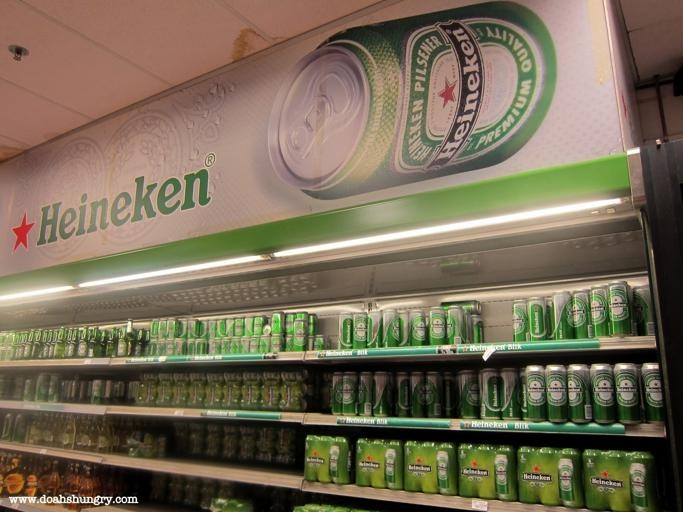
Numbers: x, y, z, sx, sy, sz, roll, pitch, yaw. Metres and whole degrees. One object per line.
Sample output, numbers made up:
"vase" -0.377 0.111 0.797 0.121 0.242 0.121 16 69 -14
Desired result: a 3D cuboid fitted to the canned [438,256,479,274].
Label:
"canned" 0.730 0.054 3.039 0.241 0.093 0.070 -6 -14 16
